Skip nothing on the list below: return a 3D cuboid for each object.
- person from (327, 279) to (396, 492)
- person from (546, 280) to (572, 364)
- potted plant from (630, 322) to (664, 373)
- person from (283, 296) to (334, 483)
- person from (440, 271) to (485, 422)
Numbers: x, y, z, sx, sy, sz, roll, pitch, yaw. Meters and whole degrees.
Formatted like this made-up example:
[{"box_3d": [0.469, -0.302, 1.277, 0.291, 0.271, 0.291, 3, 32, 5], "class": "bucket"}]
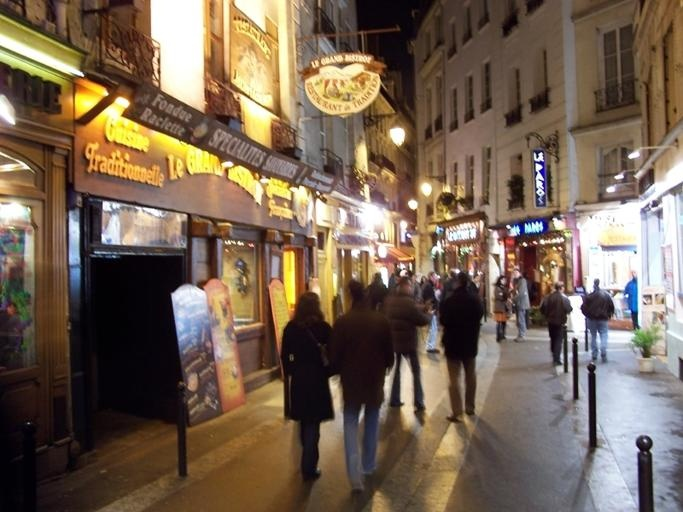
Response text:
[{"box_3d": [0.234, 1.723, 7.937, 0.612, 2.695, 0.907, 3, 5, 40], "class": "person"}, {"box_3d": [5.249, 1.661, 14.044, 0.639, 1.973, 0.712, 1, 4, 21], "class": "person"}, {"box_3d": [7.244, 2.112, 13.643, 0.576, 0.978, 1.947, 2, 5, 29], "class": "potted plant"}, {"box_3d": [-0.474, 1.788, 8.001, 0.718, 2.525, 0.514, -1, 4, -2], "class": "person"}, {"box_3d": [2.123, 1.567, 10.144, 0.719, 2.521, 0.928, 1, 4, 17], "class": "person"}]
